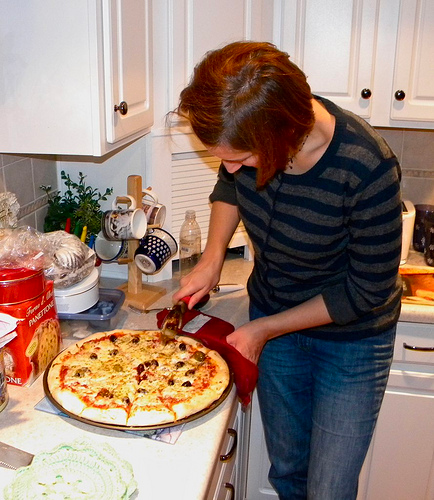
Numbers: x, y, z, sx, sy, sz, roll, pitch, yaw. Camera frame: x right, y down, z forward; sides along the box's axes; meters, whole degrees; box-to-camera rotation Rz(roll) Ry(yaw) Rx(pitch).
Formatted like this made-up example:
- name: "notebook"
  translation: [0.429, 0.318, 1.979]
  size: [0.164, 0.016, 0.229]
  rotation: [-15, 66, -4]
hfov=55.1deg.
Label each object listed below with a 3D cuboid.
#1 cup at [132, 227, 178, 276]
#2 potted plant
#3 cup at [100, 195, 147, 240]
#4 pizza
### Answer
- name: "cup"
  translation: [-0.208, 0.000, 1.419]
  size: [0.177, 0.110, 0.121]
  rotation: [12, 43, 33]
- name: "potted plant"
  translation: [-0.528, -0.129, 1.665]
  size: [0.234, 0.281, 0.262]
  rotation: [19, 5, -5]
- name: "cup"
  translation: [-0.306, -0.099, 1.366]
  size: [0.135, 0.149, 0.117]
  rotation: [-1, 11, 3]
- name: "pizza"
  translation: [-0.171, 0.285, 0.994]
  size: [0.400, 0.040, 0.394]
  rotation: [0, 17, -10]
